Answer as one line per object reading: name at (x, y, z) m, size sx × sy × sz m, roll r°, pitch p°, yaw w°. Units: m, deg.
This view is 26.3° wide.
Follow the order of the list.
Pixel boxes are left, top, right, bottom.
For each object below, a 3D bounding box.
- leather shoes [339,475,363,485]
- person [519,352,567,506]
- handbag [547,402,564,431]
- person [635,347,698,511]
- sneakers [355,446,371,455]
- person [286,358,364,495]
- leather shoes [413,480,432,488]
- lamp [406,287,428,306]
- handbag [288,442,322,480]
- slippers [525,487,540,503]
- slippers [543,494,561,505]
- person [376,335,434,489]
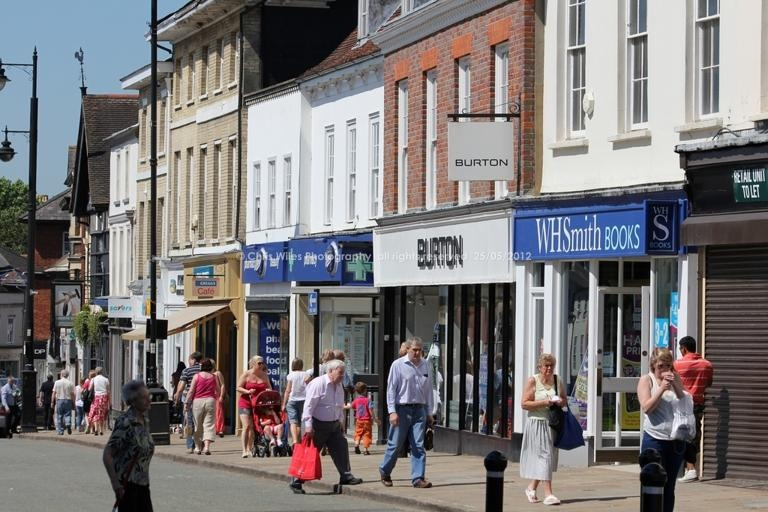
leather shoes at (-0.634, 4.255, 31.174) m, size 0.380 × 0.166 × 0.183 m, roll -1°, pitch 1°, yaw -5°
person at (2.771, 3.066, 28.951) m, size 0.804 × 2.620 × 0.758 m, roll -1°, pitch -6°, yaw 3°
handbag at (2.999, 2.854, 28.891) m, size 0.234 × 0.456 × 0.153 m, roll 2°, pitch -6°, yaw -24°
person at (4.507, 2.784, 26.291) m, size 0.851 × 2.573 × 0.504 m, roll -2°, pitch -6°, yaw 10°
sneakers at (-0.485, 4.423, 37.173) m, size 0.396 × 0.172 × 0.133 m, roll 8°, pitch -5°, yaw -43°
person at (-1.035, 3.146, 30.918) m, size 1.126 × 2.334 × 0.773 m, roll 4°, pitch -7°, yaw -39°
leather shoes at (0.701, 4.245, 30.495) m, size 0.289 × 0.125 × 0.149 m, roll -7°, pitch -6°, yaw 36°
lamp at (0.721, 0.999, 39.117) m, size 0.144 × 0.488 × 0.919 m, roll 1°, pitch -7°, yaw -20°
handbag at (-1.521, 3.864, 31.000) m, size 0.575 × 0.737 × 0.606 m, roll 0°, pitch -6°, yaw -12°
slippers at (2.569, 4.223, 28.942) m, size 0.135 × 0.129 × 0.303 m, roll 10°, pitch 29°, yaw -37°
slippers at (2.895, 4.254, 28.602) m, size 0.300 × 0.177 × 0.316 m, roll -2°, pitch -6°, yaw 5°
person at (0.424, 2.956, 30.650) m, size 0.942 × 2.731 × 1.141 m, roll -1°, pitch -6°, yaw -2°
